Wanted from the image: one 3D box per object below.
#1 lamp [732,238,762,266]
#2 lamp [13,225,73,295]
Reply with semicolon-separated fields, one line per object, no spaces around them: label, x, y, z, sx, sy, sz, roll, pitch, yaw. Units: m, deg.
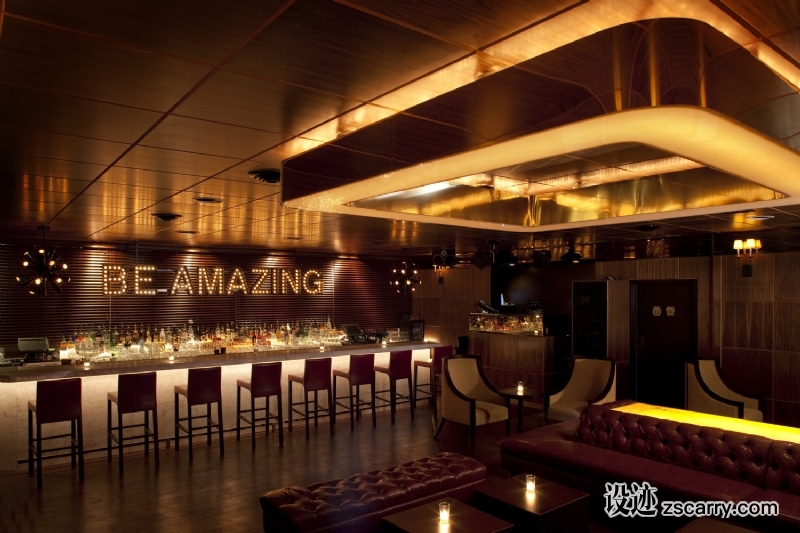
lamp;5.146;-0.219;9.034;0.450;0.481;0.448;-3;-5;37
lamp;-5.372;-0.045;9.178;0.798;1.051;1.681;-2;3;-31
